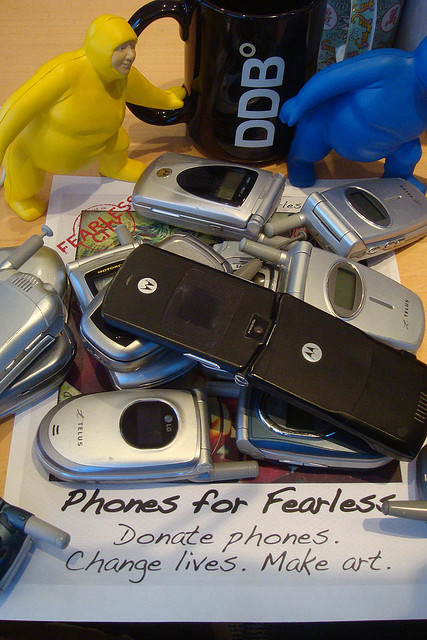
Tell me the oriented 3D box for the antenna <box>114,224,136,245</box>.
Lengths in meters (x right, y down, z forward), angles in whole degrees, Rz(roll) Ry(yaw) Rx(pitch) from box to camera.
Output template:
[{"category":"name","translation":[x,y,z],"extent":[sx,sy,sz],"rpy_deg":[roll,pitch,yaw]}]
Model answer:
[{"category":"antenna","translation":[-0.087,-0.082,0.498],"extent":[0.008,0.006,0.029],"rpy_deg":[-4,29,-21]}]

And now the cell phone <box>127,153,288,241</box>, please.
[{"category":"cell phone","translation":[-0.004,-0.122,0.494],"extent":[0.135,0.039,0.082],"rpy_deg":[16,61,11]}]

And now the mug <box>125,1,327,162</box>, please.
[{"category":"mug","translation":[0.028,-0.268,0.510],"extent":[0.210,0.180,0.118],"rpy_deg":[-1,65,-4]}]

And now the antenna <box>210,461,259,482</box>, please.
[{"category":"antenna","translation":[0.017,0.113,0.396],"extent":[0.050,0.014,0.013],"rpy_deg":[-3,91,-15]}]

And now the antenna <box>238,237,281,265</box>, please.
[{"category":"antenna","translation":[0.042,-0.061,0.454],"extent":[0.044,0.015,0.016],"rpy_deg":[23,91,-10]}]

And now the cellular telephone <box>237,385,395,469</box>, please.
[{"category":"cellular telephone","translation":[0.079,0.094,0.410],"extent":[0.125,0.036,0.080],"rpy_deg":[8,27,3]}]

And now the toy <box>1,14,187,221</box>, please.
[{"category":"toy","translation":[-0.115,-0.187,0.500],"extent":[0.108,0.166,0.225],"rpy_deg":[33,58,8]}]

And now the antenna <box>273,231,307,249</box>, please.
[{"category":"antenna","translation":[0.073,-0.076,0.491],"extent":[0.038,0.012,0.013],"rpy_deg":[-25,92,-24]}]

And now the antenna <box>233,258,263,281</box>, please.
[{"category":"antenna","translation":[0.031,-0.044,0.444],"extent":[0.013,0.006,0.026],"rpy_deg":[23,45,22]}]

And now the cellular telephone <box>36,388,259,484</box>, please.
[{"category":"cellular telephone","translation":[-0.043,0.081,0.382],"extent":[0.153,0.039,0.074],"rpy_deg":[-3,72,1]}]

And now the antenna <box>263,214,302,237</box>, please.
[{"category":"antenna","translation":[0.067,-0.091,0.496],"extent":[0.049,0.017,0.016],"rpy_deg":[-19,55,-37]}]
